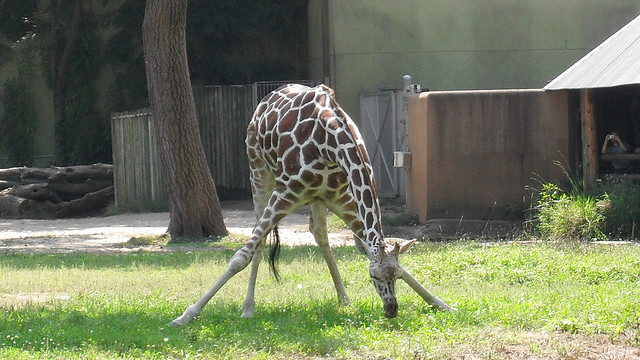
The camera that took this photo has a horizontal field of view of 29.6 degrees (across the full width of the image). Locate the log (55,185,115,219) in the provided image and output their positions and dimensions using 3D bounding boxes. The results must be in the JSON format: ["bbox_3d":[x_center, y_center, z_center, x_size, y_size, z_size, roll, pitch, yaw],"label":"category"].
[{"bbox_3d":[-9.089,0.822,46.729,2.254,1.085,0.661,-3,4,-16],"label":"log"}]

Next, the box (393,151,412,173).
[{"bbox_3d":[2.963,-0.712,43.119,0.484,0.641,0.850,2,0,-24],"label":"box"}]
